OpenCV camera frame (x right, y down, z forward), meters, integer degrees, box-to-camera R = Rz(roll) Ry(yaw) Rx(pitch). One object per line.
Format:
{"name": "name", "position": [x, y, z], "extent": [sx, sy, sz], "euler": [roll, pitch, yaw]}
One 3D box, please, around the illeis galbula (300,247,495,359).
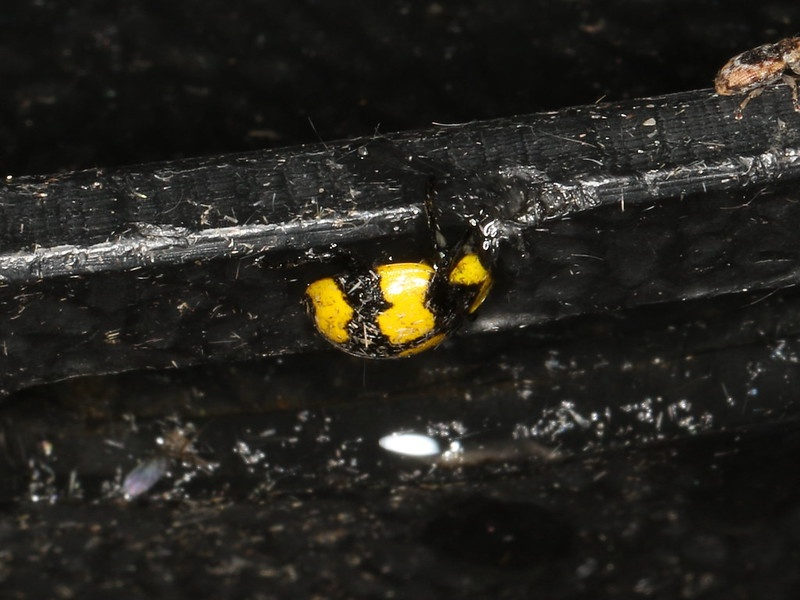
{"name": "illeis galbula", "position": [-0.021, -0.010, 2.397], "extent": [0.489, 0.167, 0.214], "euler": [-11, 75, -19]}
